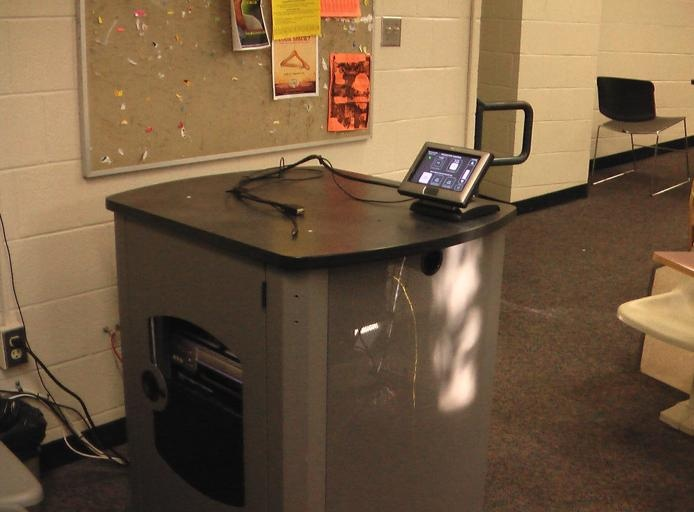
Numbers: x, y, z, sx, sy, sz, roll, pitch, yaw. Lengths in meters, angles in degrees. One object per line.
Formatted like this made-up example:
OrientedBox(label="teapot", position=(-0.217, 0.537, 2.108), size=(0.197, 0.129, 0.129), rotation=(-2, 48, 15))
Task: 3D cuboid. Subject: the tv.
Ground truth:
OrientedBox(label="tv", position=(0.284, -0.212, 1.687), size=(0.267, 0.177, 0.197), rotation=(15, 26, 25))
